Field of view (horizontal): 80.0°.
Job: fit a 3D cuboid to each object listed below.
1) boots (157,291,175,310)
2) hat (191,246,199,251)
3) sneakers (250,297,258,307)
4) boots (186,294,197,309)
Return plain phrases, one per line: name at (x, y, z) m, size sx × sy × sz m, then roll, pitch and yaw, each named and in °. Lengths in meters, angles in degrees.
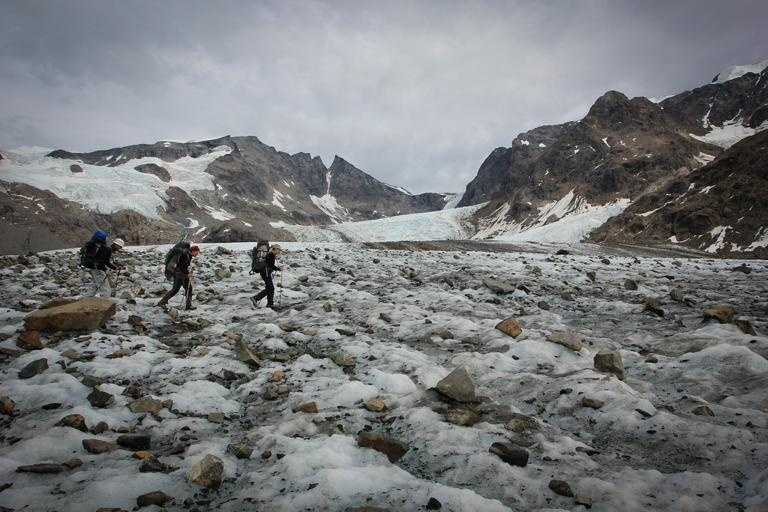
boots at (-7.988, 1.563, 16.707) m, size 0.533 × 0.628 × 0.767 m, roll 4°, pitch 0°, yaw 8°
hat at (-6.919, -0.332, 16.920) m, size 0.325 × 0.121 × 0.323 m, roll 6°, pitch -4°, yaw -42°
sneakers at (-4.995, 1.720, 17.483) m, size 0.223 × 0.166 × 0.494 m, roll 9°, pitch 21°, yaw -37°
boots at (-7.297, 1.612, 17.229) m, size 0.375 × 0.649 × 0.944 m, roll 3°, pitch 0°, yaw -24°
